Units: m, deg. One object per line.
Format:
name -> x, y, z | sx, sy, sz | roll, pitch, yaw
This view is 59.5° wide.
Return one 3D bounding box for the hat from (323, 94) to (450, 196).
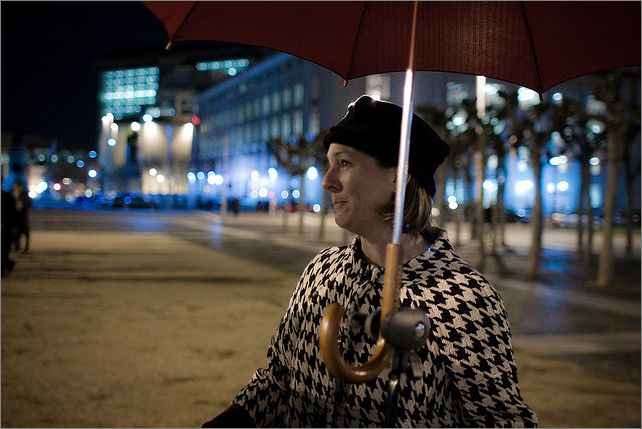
hat -> 0.315, -0.333, 2.748 | 0.628, 0.490, 0.332 | 3, 5, 8
